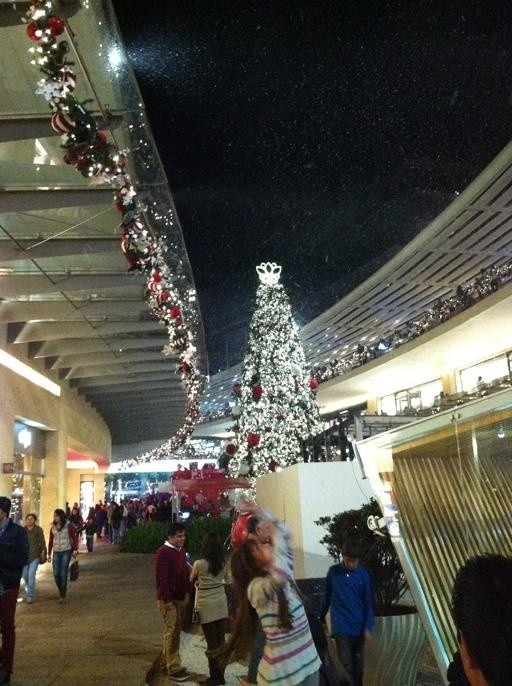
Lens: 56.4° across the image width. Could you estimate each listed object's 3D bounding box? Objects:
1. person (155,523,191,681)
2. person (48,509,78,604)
[{"bbox_3d":[-0.888,2.764,5.094,0.335,1.586,0.503,-1,-17,-1],"label":"person"},{"bbox_3d":[-3.810,4.173,9.384,0.506,1.694,0.762,6,-18,-19],"label":"person"}]
